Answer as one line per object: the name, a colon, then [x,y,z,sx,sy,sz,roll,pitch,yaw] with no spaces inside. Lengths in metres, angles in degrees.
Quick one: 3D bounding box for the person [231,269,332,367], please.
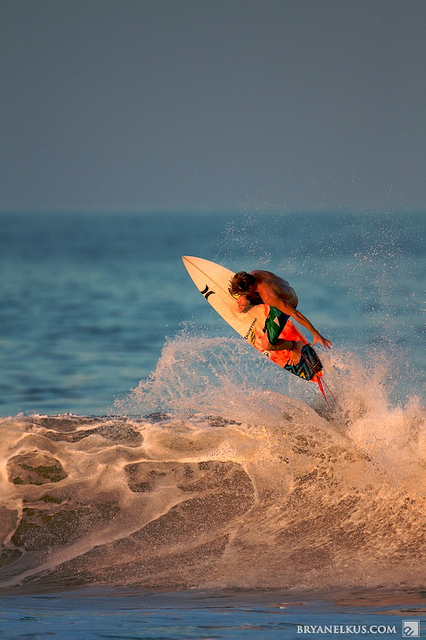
person: [0.790,-0.019,12.214,1.438,1.105,1.003,-2,-5,22]
